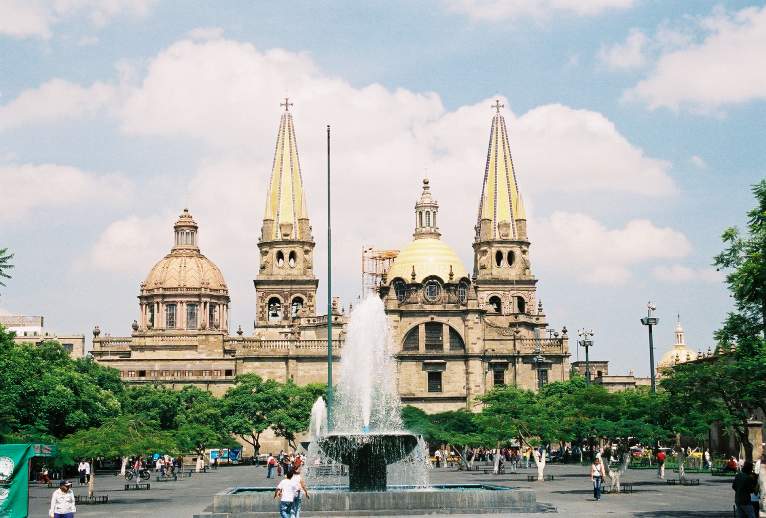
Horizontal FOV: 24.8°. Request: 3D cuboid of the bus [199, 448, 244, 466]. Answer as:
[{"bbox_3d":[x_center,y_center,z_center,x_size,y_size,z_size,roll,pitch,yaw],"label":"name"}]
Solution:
[{"bbox_3d":[-13.842,16.803,148.517,3.580,1.452,1.442,2,-13,-7],"label":"bus"}]
